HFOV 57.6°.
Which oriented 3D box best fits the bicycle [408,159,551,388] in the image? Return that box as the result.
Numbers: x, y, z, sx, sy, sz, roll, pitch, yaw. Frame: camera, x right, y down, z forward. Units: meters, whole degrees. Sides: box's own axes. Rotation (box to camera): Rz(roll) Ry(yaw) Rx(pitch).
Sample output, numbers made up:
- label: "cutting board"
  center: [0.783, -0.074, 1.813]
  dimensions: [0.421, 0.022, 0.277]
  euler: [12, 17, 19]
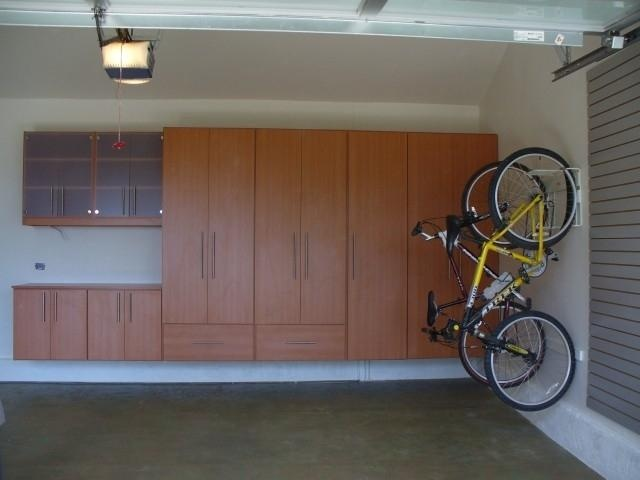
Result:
- label: "bicycle"
  center: [1.532, 0.360, 5.723]
  dimensions: [1.438, 2.254, 1.156]
  euler: [1, 0, 12]

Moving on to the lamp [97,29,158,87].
- label: "lamp"
  center: [-1.561, -1.514, 4.765]
  dimensions: [0.380, 0.414, 0.304]
  euler: [2, 14, 7]

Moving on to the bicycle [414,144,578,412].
- label: "bicycle"
  center: [1.677, 0.290, 5.746]
  dimensions: [1.621, 2.543, 1.302]
  euler: [-1, 5, 11]
